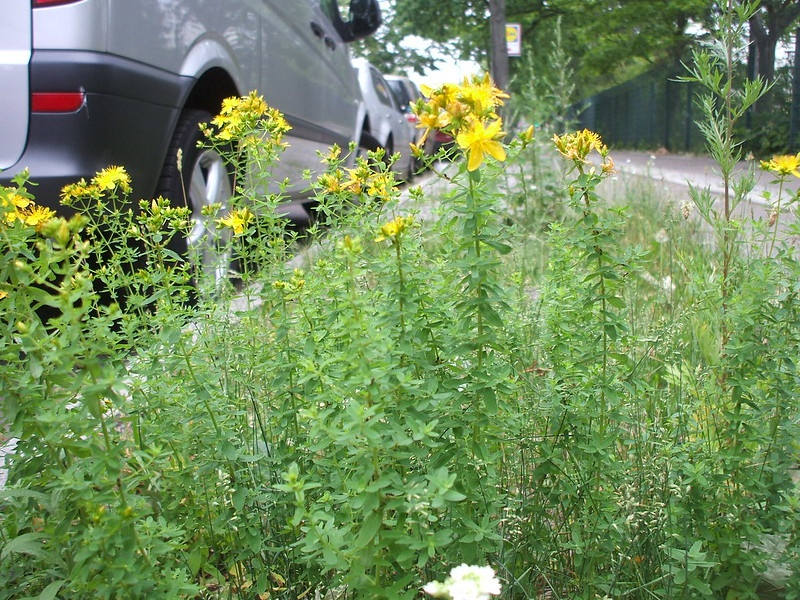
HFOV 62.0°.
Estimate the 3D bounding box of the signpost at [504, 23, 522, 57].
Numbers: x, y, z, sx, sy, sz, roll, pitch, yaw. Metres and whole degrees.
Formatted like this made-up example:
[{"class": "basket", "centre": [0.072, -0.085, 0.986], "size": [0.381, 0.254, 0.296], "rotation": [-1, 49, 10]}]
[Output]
[{"class": "signpost", "centre": [1.367, -3.112, 7.939], "size": [0.184, 0.474, 0.482], "rotation": [1, 7, 5]}]
